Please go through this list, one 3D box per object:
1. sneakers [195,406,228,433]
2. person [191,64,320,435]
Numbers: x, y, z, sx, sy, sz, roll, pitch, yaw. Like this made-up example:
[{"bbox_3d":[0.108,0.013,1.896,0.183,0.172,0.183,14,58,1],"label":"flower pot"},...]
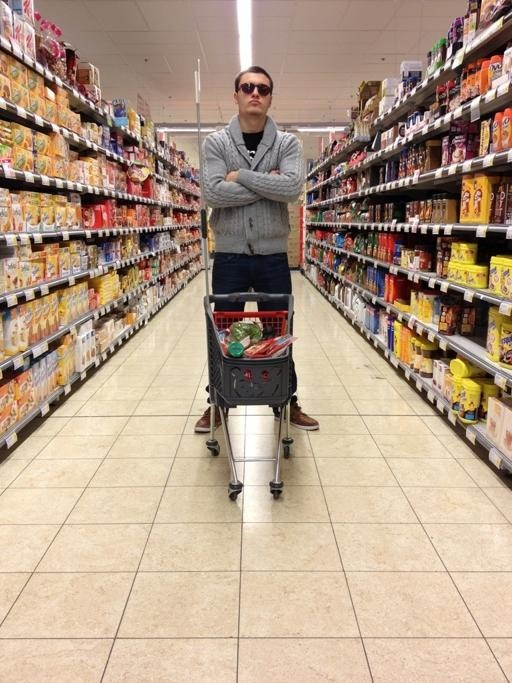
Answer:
[{"bbox_3d":[-0.273,0.442,2.696,0.089,0.111,0.251,1,2,12],"label":"sneakers"},{"bbox_3d":[-0.012,-0.451,2.390,0.593,1.830,0.394,0,3,-3],"label":"person"}]
